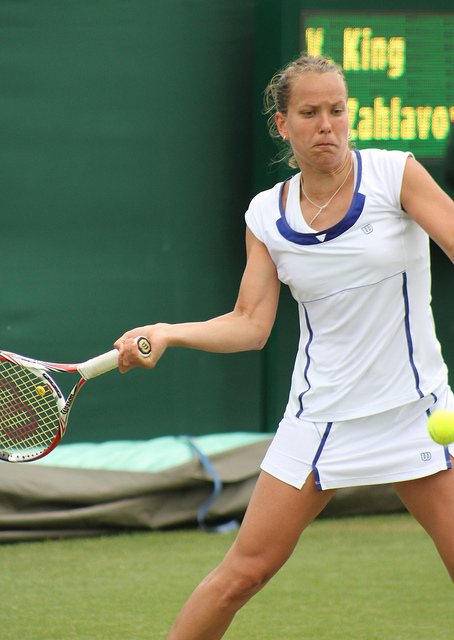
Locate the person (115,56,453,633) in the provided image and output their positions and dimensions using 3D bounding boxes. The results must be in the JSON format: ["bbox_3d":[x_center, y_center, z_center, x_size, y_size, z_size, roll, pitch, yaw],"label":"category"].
[{"bbox_3d":[0.169,0.050,1.703,0.665,1.284,0.303,1,1,11],"label":"person"}]
